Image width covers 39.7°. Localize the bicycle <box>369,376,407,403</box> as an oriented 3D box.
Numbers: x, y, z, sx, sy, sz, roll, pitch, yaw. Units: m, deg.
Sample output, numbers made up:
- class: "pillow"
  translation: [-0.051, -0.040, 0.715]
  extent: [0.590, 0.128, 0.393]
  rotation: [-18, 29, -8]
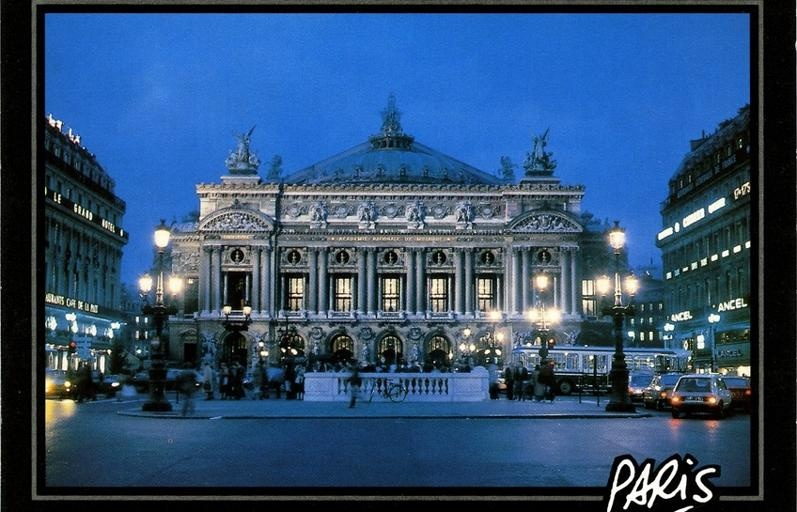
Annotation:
- class: "bicycle"
  translation: [-0.494, 5.912, 48.571]
  extent: [1.619, 0.955, 0.845]
  rotation: [5, -12, 0]
